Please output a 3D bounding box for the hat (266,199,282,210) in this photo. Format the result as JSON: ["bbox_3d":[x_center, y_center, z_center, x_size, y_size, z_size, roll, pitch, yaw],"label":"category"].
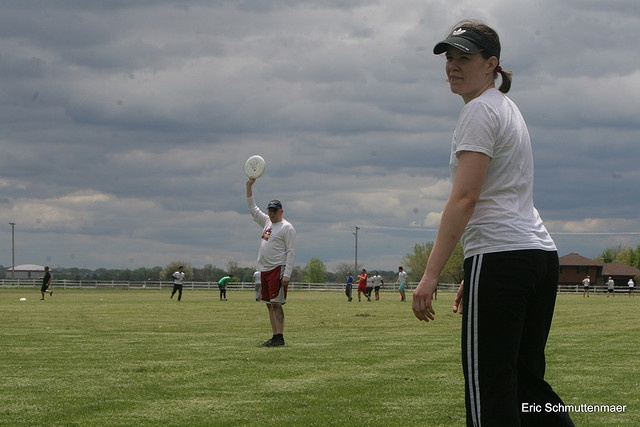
[{"bbox_3d":[-0.742,-0.147,15.488,0.206,0.140,0.280,8,-18,12],"label":"hat"}]

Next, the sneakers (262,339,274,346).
[{"bbox_3d":[-1.039,2.515,18.505,0.222,0.115,0.485,0,1,-2],"label":"sneakers"}]
